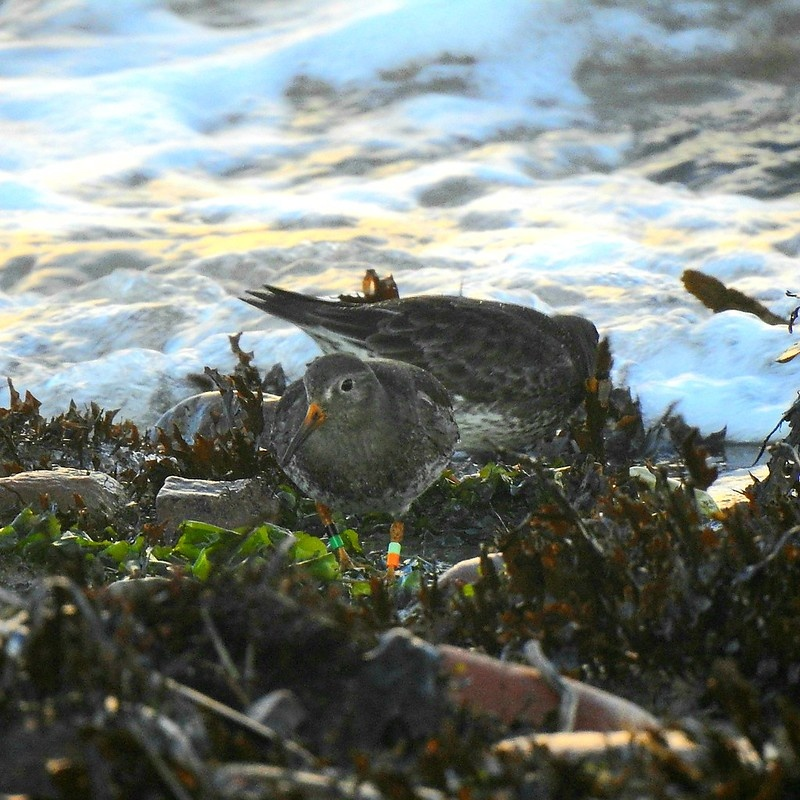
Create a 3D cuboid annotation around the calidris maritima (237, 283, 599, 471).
[{"bbox_3d":[0.313,-0.175,8.657,2.542,1.246,1.521,0,4,4],"label":"calidris maritima"}]
